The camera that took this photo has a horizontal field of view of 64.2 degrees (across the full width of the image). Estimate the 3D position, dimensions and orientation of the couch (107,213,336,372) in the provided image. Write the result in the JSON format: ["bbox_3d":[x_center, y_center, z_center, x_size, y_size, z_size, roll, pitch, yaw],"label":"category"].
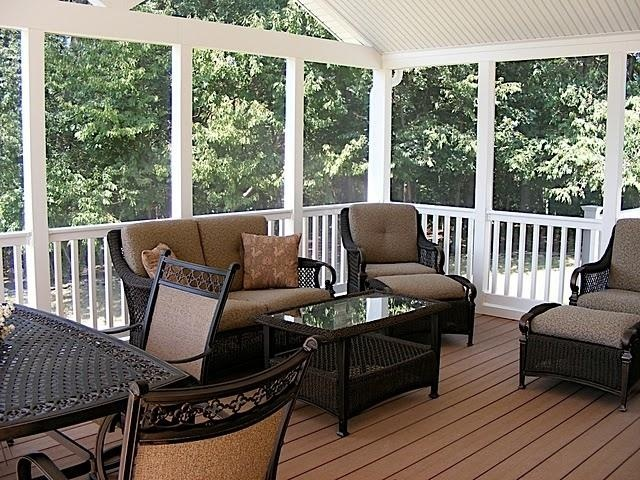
[{"bbox_3d":[-0.815,0.413,4.380,1.059,1.112,1.741,10,9,34],"label":"couch"}]

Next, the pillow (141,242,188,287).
[{"bbox_3d":[-1.072,0.167,3.435,0.091,0.237,0.244,-43,-9,33],"label":"pillow"}]

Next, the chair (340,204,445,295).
[{"bbox_3d":[0.732,0.206,5.365,0.992,1.145,0.782,-2,7,-8],"label":"chair"}]
